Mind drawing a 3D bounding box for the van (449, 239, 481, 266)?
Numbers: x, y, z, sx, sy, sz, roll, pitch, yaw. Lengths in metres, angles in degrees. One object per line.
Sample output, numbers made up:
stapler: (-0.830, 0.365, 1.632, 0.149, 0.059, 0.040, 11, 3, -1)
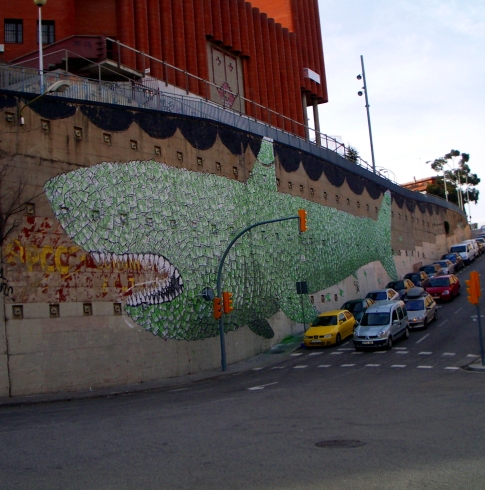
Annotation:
van: (21.665, 0.644, 60.447, 2.196, 2.097, 3.747, -5, -3, 30)

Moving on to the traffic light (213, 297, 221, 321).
traffic light: (-1.065, 2.651, 26.041, 0.366, 0.885, 0.573, -4, -4, -2)

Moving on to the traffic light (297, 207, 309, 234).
traffic light: (2.363, -0.938, 24.208, 0.340, 0.836, 0.474, -4, -4, 0)

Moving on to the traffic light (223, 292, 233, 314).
traffic light: (-0.651, 2.436, 26.016, 0.395, 0.876, 0.475, -4, -4, -7)
